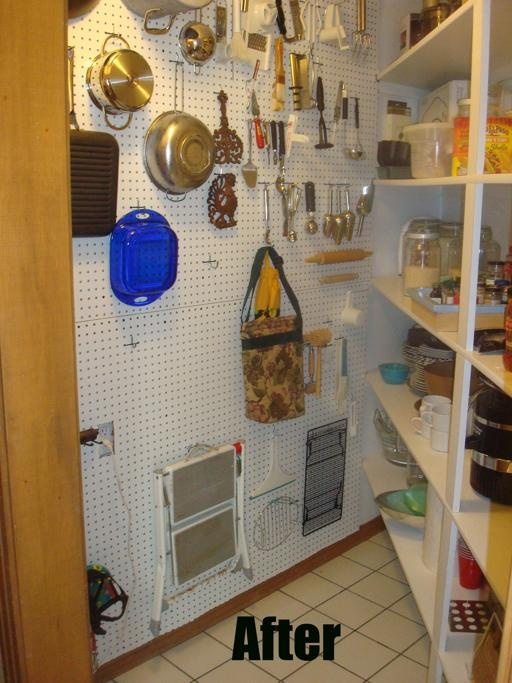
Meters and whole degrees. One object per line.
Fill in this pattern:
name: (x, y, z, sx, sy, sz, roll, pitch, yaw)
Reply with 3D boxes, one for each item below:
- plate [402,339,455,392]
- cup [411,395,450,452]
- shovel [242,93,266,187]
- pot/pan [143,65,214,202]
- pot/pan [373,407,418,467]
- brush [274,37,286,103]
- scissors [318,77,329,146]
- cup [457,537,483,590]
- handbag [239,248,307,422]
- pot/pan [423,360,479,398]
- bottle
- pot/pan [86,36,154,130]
plate: (0.676, 0.084, 2.347, 0.193, 0.232, 0.186, -1, -1, -25)
cup: (0.575, 0.256, 1.876, 0.158, 0.158, 0.104, 1, 13, 39)
shovel: (-0.008, -0.691, 1.977, 0.071, 0.323, 0.064, -11, 31, -18)
pot/pan: (-0.228, -0.558, 1.714, 0.130, 0.229, 0.196, 5, 11, 33)
pot/pan: (0.648, 0.422, 2.589, 0.212, 0.212, 0.159, -6, 12, -27)
brush: (0.081, -0.942, 2.026, 0.050, 0.235, 0.038, -4, 9, -21)
scissors: (0.259, -0.875, 2.210, 0.055, 0.259, 0.111, 1, 9, 7)
cup: (0.625, 0.651, 1.676, 0.073, 0.180, 0.113, 3, 10, 23)
handbag: (0.077, -0.035, 2.134, 0.155, 0.635, 0.361, 6, 11, 37)
pot/pan: (0.676, 0.130, 2.056, 0.118, 0.098, 0.136, -1, 2, 0)
bottle: (0.625, -0.168, 1.810, 0.280, 0.207, 0.538, -4, 18, -10)
pot/pan: (-0.365, -0.701, 1.534, 0.102, 0.251, 0.159, 6, 11, 36)
